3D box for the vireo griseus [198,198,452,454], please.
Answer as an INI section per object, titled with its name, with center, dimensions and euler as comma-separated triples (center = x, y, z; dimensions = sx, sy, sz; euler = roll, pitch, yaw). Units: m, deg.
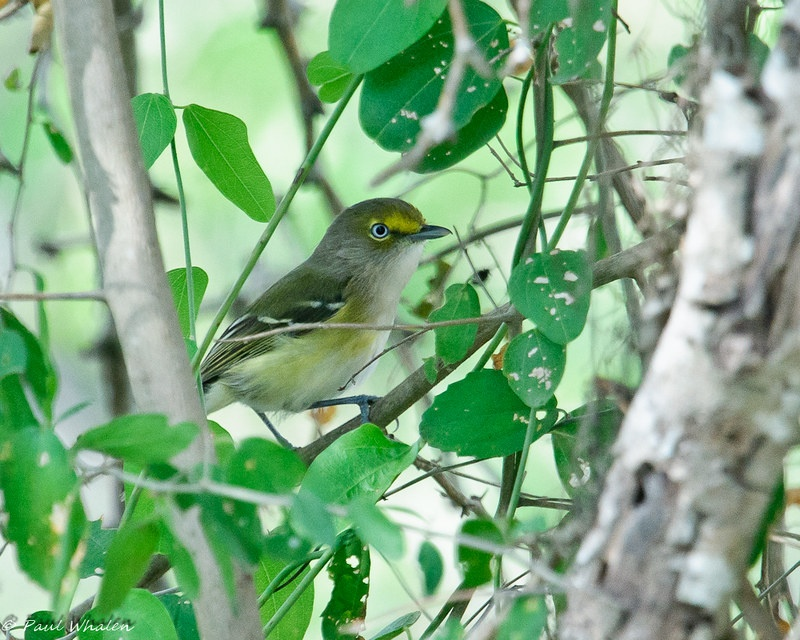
[vireo griseus]
center = -0.146, -0.020, 2.208
dimensions = 0.573, 0.572, 0.267
euler = -17, -36, 16
